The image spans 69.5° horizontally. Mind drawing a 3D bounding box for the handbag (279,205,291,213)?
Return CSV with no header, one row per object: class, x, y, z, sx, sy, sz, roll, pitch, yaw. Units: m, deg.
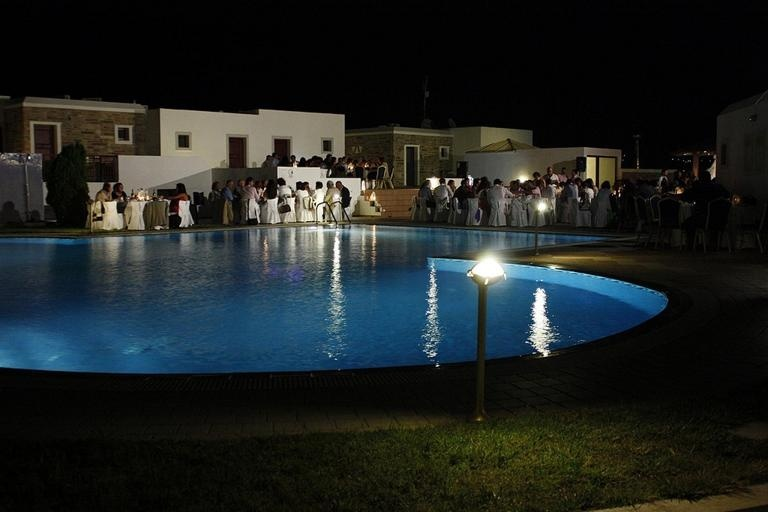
handbag,-4.441,-2.111,24.583,0.371,0.259,0.115,-2,2,-10
